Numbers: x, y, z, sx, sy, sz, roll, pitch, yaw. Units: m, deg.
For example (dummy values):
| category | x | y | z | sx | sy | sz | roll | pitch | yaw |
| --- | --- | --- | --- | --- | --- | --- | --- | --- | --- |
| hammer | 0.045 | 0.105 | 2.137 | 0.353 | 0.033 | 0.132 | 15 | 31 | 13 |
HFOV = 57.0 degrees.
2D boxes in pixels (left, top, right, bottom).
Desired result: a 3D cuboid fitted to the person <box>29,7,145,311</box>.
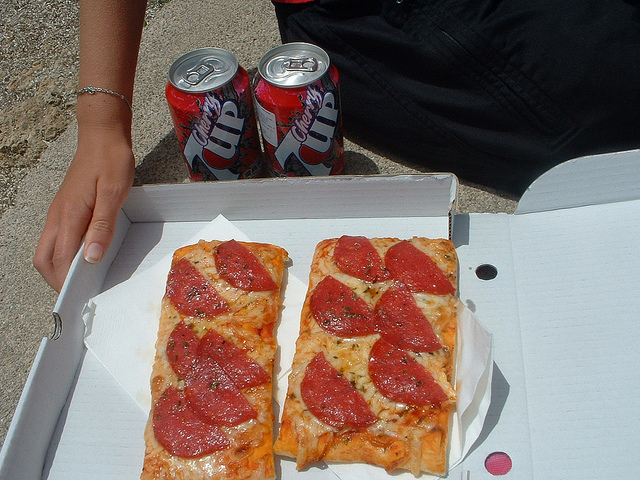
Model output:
| category | x | y | z | sx | sy | sz | roll | pitch | yaw |
| --- | --- | --- | --- | --- | --- | --- | --- | --- | --- |
| person | -1.112 | -0.419 | 2.777 | 0.422 | 0.373 | 2.054 | 4 | 94 | -23 |
